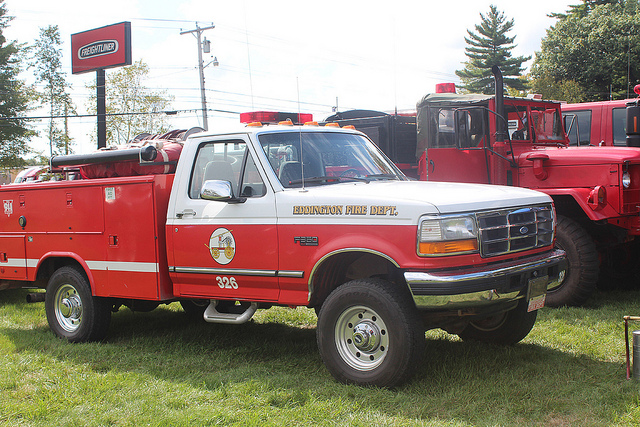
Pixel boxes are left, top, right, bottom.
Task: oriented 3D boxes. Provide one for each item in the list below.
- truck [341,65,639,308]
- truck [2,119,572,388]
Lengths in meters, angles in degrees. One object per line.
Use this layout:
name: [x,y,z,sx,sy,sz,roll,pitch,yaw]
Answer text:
truck: [3.333,-0.619,11.790,6.089,3.562,3.604,0,3,40]
truck: [-0.936,0.317,8.571,8.124,3.180,3.381,-1,1,31]
